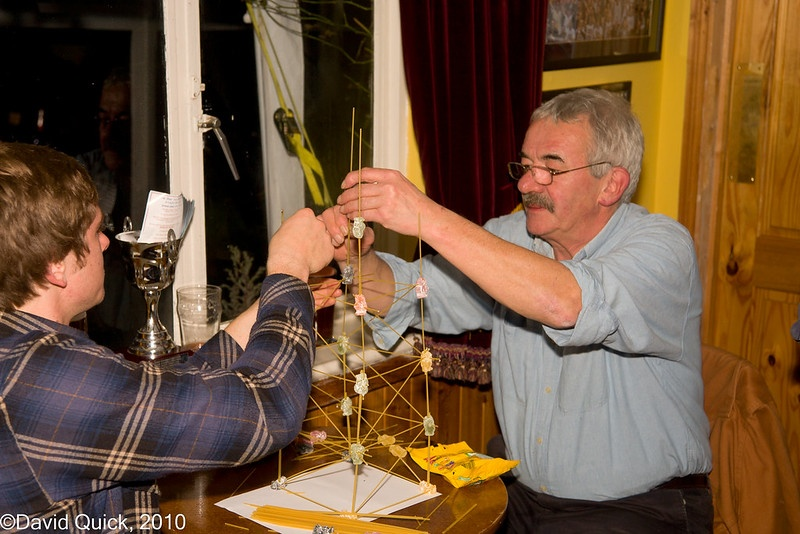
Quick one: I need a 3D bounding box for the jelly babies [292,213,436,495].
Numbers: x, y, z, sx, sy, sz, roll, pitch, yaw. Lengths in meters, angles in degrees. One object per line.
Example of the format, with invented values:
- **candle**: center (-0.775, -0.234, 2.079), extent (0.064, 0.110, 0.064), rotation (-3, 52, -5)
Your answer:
- **jelly babies**: center (-0.022, 0.293, 2.213), extent (0.493, 0.893, 0.564), rotation (0, -1, -35)
